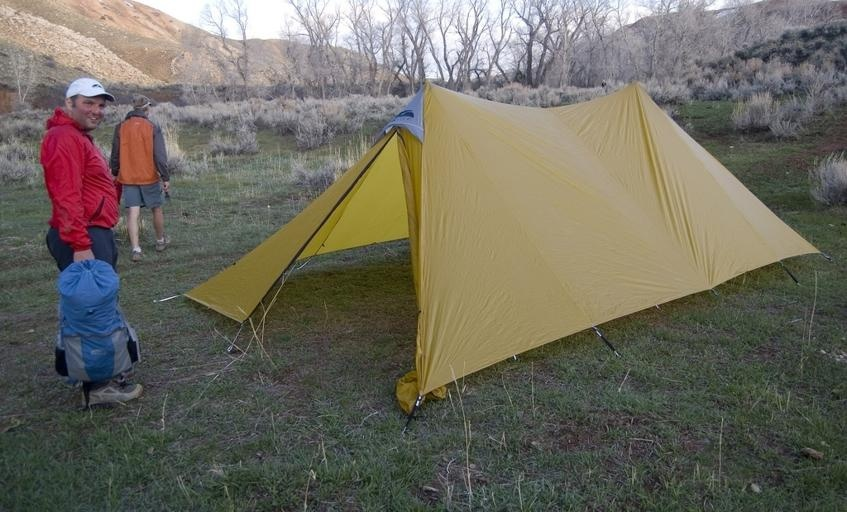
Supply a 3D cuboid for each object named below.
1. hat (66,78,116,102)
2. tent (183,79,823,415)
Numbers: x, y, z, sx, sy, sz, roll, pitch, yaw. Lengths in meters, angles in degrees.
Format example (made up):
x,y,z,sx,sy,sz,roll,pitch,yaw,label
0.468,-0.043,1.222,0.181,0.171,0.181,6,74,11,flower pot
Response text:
x,y,z,sx,sy,sz,roll,pitch,yaw,label
-4.377,-2.158,7.984,0.590,0.275,0.416,0,11,14,hat
1.530,-1.006,10.008,9.886,3.104,6.905,-11,23,-20,tent
